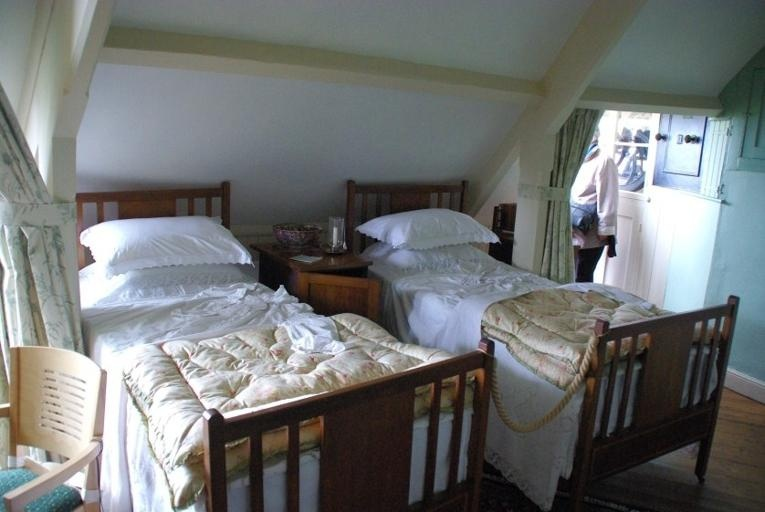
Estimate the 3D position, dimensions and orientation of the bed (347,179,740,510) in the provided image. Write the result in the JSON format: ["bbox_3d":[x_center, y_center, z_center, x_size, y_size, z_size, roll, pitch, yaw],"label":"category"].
[{"bbox_3d":[0.918,0.354,3.956,1.619,1.685,2.716,-10,26,-26],"label":"bed"}]

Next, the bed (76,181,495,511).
[{"bbox_3d":[-0.562,0.449,2.765,1.764,1.291,0.623,-10,21,-29],"label":"bed"}]

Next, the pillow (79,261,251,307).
[{"bbox_3d":[-1.432,0.175,3.344,0.578,0.136,0.439,-9,22,-24],"label":"pillow"}]

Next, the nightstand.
[{"bbox_3d":[-0.421,0.112,3.755,0.464,0.556,0.891,-9,21,-32],"label":"nightstand"}]

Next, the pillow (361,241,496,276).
[{"bbox_3d":[0.436,0.027,4.131,0.508,0.121,0.453,-4,13,-27],"label":"pillow"}]

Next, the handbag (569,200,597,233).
[{"bbox_3d":[1.879,-0.338,4.915,0.277,0.279,0.109,27,5,37],"label":"handbag"}]
